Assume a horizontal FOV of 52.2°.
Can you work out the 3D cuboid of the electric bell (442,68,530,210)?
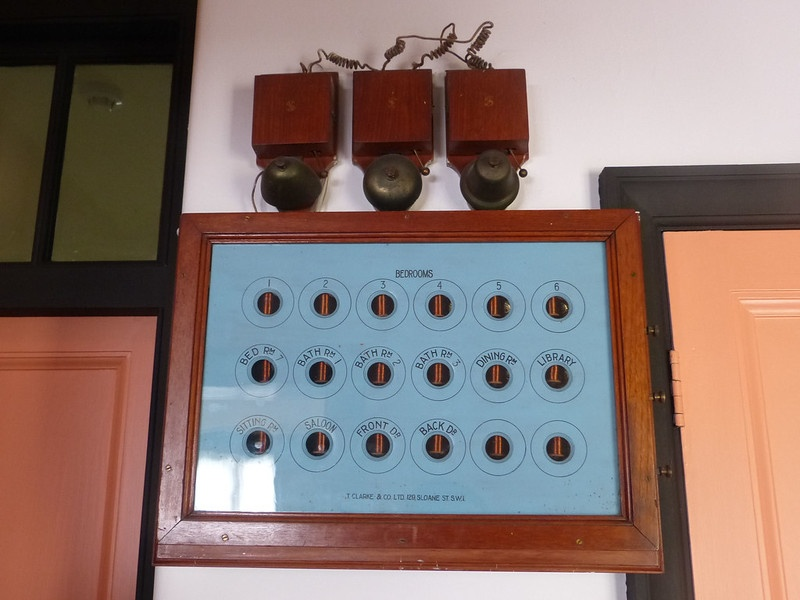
[{"bbox_3d":[0.230,-0.423,2.171,0.270,0.495,0.246,0,-30,3],"label":"electric bell"}]

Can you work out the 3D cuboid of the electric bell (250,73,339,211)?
[{"bbox_3d":[-0.311,-0.424,2.192,0.233,0.417,0.215,-2,-6,14],"label":"electric bell"}]
